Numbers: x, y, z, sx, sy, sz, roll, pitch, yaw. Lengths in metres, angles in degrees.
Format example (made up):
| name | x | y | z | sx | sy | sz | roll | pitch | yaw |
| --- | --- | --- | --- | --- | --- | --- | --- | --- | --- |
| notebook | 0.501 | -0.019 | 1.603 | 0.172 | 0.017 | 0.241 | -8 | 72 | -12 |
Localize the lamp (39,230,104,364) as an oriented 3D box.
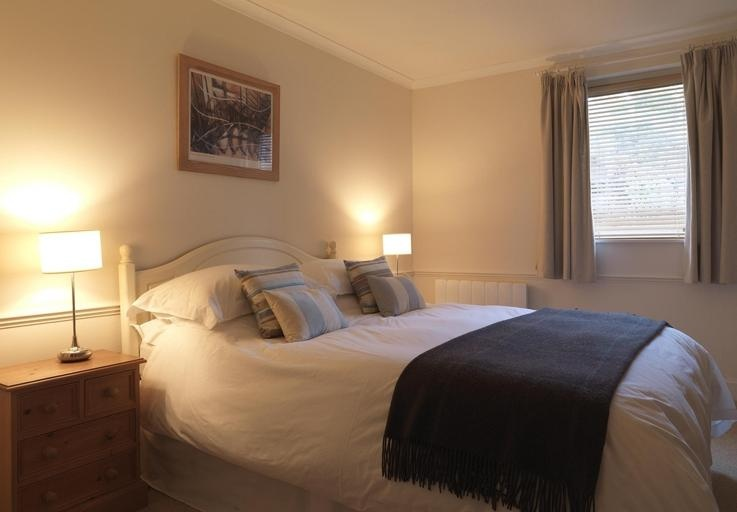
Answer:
| name | x | y | z | sx | sy | sz | roll | pitch | yaw |
| --- | --- | --- | --- | --- | --- | --- | --- | --- | --- |
| lamp | -1.847 | 0.227 | 3.262 | 0.324 | 0.781 | 0.404 | -7 | 10 | -33 |
